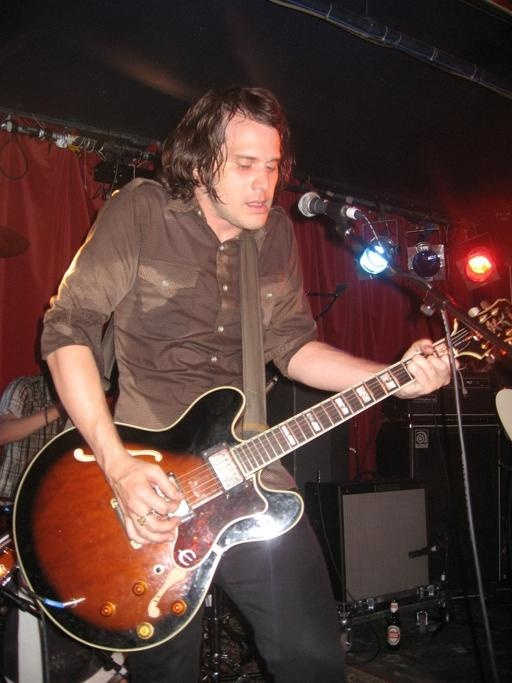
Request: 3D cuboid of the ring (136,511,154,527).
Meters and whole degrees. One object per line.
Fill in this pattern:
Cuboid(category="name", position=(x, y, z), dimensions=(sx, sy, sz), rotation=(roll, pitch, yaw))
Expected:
Cuboid(category="ring", position=(-0.291, 0.464, 1.536), dimensions=(0.055, 0.024, 0.015), rotation=(-30, -13, -11))

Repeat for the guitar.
Cuboid(category="guitar", position=(0.105, 0.654, 2.583), dimensions=(2.530, 0.889, 0.368), rotation=(-25, -10, -18))

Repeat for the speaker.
Cuboid(category="speaker", position=(0.768, 1.474, 4.374), dimensions=(1.007, 0.875, 0.544), rotation=(10, -13, -36))

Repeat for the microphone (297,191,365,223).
Cuboid(category="microphone", position=(0.249, -0.469, 2.072), dimensions=(0.102, 0.089, 0.273), rotation=(28, 2, -33))
